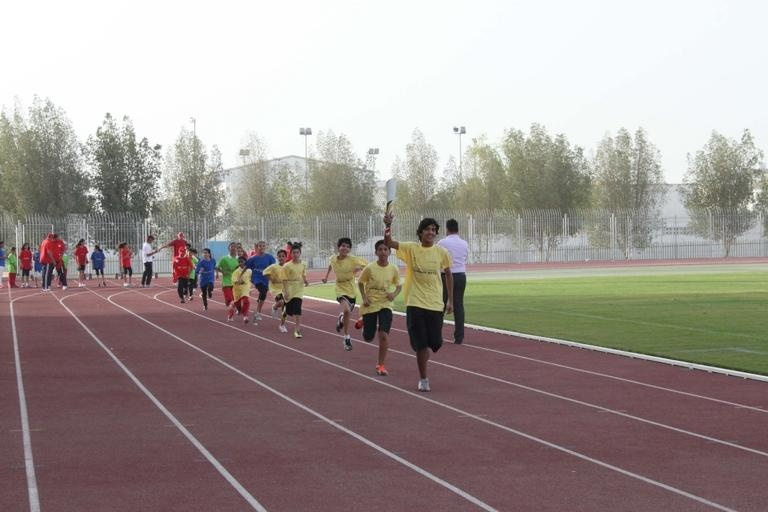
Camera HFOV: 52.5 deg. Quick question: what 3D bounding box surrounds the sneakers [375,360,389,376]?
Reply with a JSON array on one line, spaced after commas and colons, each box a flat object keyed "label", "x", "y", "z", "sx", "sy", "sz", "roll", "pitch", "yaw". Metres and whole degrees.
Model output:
[{"label": "sneakers", "x": -0.033, "y": 1.741, "z": 11.966, "sx": 0.188, "sy": 0.235, "sz": 0.511, "roll": 0, "pitch": -4, "yaw": -14}]

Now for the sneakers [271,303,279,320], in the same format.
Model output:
[{"label": "sneakers", "x": -2.715, "y": 1.410, "z": 19.436, "sx": 0.201, "sy": 0.460, "sz": 0.169, "roll": 9, "pitch": 22, "yaw": 34}]

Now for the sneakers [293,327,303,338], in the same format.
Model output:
[{"label": "sneakers", "x": -1.770, "y": 1.590, "z": 16.025, "sx": 0.164, "sy": 0.200, "sz": 0.461, "roll": 0, "pitch": -4, "yaw": -12}]

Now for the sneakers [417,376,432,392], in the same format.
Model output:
[{"label": "sneakers", "x": 0.557, "y": 1.791, "z": 10.790, "sx": 0.165, "sy": 0.198, "sz": 0.458, "roll": 0, "pitch": -6, "yaw": -3}]
